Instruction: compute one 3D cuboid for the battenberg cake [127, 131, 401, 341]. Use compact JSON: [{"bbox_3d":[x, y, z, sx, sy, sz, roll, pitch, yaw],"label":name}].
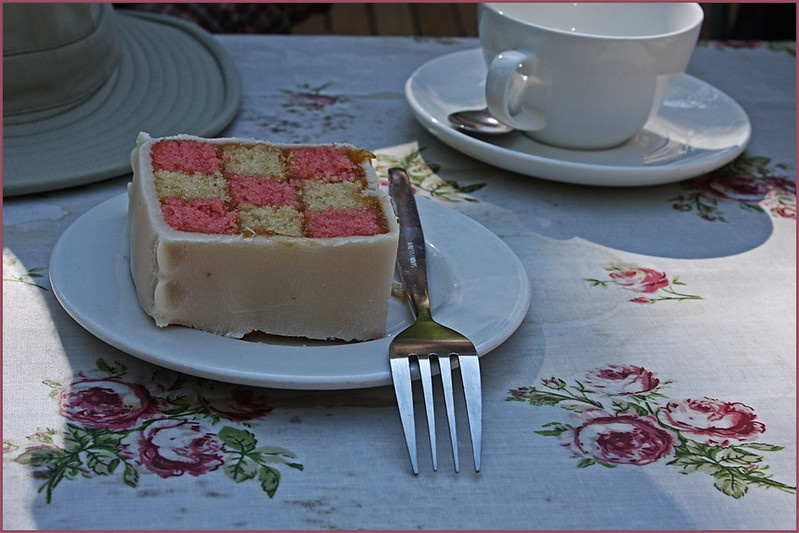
[{"bbox_3d":[-0.199,-0.043,1.177,0.406,0.142,0.345,4,29,-14],"label":"battenberg cake"}]
